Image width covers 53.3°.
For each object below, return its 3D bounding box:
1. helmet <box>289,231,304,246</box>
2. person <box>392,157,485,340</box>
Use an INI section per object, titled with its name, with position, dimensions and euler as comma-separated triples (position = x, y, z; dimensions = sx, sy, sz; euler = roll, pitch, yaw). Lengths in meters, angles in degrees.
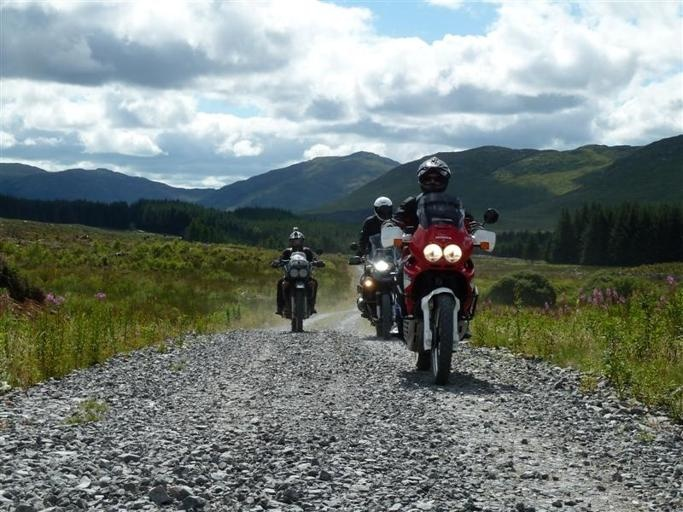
[helmet]
position = -1.456, -0.582, 22.032
dimensions = 0.380, 0.305, 0.514
euler = -18, 15, -27
[person]
position = 1.704, -0.432, 12.913
dimensions = 1.387, 2.846, 1.005
euler = 3, 28, 5
